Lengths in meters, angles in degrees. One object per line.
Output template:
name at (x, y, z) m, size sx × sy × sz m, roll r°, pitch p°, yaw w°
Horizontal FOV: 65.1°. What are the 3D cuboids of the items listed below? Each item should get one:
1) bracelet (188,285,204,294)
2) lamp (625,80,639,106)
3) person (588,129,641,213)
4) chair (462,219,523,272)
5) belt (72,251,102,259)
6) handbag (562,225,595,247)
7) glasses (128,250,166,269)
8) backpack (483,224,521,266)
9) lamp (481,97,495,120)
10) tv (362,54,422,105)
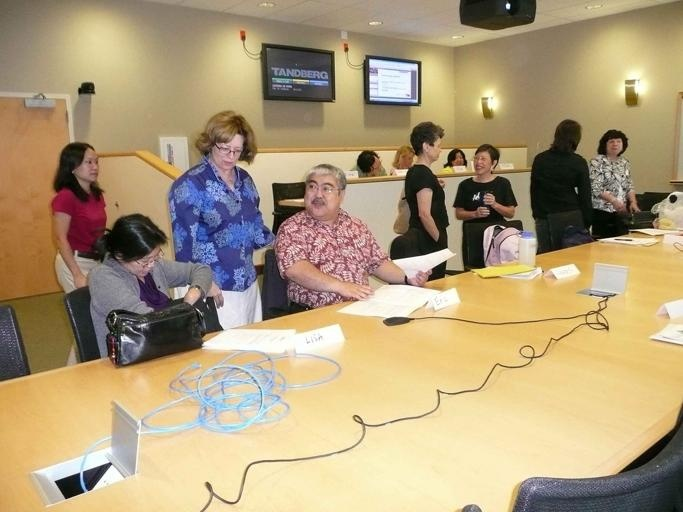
bracelet at (-0.631, 0.145, 2.329) m, size 0.038 × 0.035 × 0.039 m, roll 0°, pitch 10°, yaw 19°
lamp at (3.989, -2.221, 7.347) m, size 0.195 × 0.361 × 0.096 m, roll 10°, pitch 16°, yaw 38°
person at (2.553, -0.776, 4.984) m, size 0.397 × 0.743 × 0.508 m, roll 10°, pitch 16°, yaw 38°
chair at (0.936, -0.051, 3.308) m, size 0.291 × 0.284 × 0.154 m, roll -9°, pitch 11°, yaw -37°
belt at (-1.523, 0.000, 3.177) m, size 0.061 × 0.033 × 0.084 m, roll 11°, pitch 3°, yaw 42°
handbag at (1.652, -0.140, 3.727) m, size 0.163 × 0.183 × 0.150 m, roll -1°, pitch 5°, yaw 3°
glasses at (-0.841, 0.027, 2.279) m, size 0.087 × 0.029 × 0.088 m, roll -2°, pitch 21°, yaw 27°
backpack at (0.967, -0.061, 3.274) m, size 0.205 × 0.277 × 0.256 m, roll -9°, pitch 14°, yaw -29°
lamp at (2.496, -2.510, 9.158) m, size 0.202 × 0.368 × 0.107 m, roll 11°, pitch 17°, yaw 42°
tv at (0.823, -2.780, 8.570) m, size 1.156 × 0.720 × 0.122 m, roll -9°, pitch 15°, yaw -34°
